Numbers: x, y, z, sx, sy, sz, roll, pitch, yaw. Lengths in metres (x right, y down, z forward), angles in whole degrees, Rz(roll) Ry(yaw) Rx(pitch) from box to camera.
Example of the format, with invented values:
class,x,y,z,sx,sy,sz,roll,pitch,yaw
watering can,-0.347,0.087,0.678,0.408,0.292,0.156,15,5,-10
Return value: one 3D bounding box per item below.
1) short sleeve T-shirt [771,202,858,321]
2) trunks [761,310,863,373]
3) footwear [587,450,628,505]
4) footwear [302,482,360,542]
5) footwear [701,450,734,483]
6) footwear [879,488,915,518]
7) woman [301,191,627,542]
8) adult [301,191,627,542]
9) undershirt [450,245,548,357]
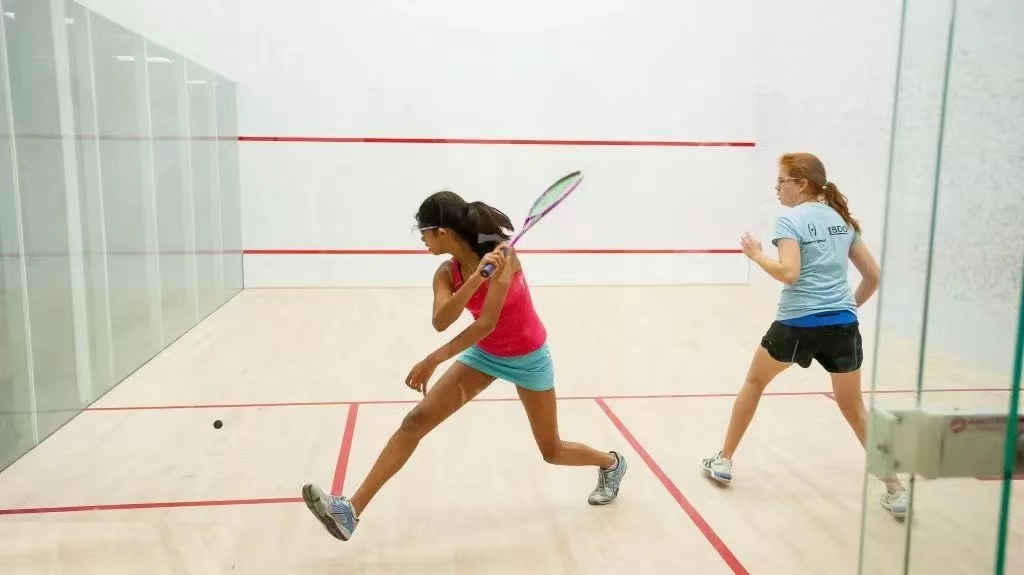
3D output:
class,x,y,z,sx,sy,sz,roll,pitch,yaw
short sleeve T-shirt,1.515,-0.123,3.385,0.431,0.595,0.169,0,12,-2
trunks,1.503,0.267,3.389,0.588,0.356,0.298,0,11,14
footwear,0.516,1.010,3.541,0.139,0.326,0.155,18,2,38
footwear,-0.804,0.992,3.038,0.121,0.344,0.160,0,44,41
footwear,1.136,1.001,3.764,0.100,0.095,0.221,0,3,-3
footwear,1.208,0.679,2.128,0.044,0.068,0.105,-7,1,-33
woman,-0.097,0.343,3.192,1.943,1.465,0.605,7,-15,-43
adult,-0.084,0.349,3.200,1.903,1.443,0.629,5,-14,-44
undershirt,-0.012,0.029,3.249,0.365,0.456,0.294,4,24,13
